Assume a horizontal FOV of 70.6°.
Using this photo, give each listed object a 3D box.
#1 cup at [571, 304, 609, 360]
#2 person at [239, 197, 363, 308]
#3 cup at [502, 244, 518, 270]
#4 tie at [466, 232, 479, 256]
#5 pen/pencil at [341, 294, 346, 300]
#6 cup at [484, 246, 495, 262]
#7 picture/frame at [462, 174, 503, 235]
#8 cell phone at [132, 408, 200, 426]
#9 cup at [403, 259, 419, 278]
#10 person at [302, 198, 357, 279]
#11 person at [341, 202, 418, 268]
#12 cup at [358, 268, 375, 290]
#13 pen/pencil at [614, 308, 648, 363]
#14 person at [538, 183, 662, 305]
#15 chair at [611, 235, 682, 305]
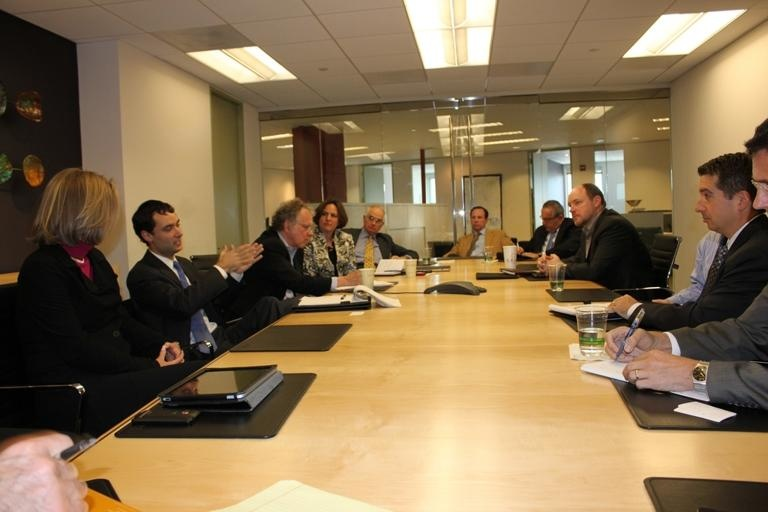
[{"bbox_3d":[0.807,0.295,2.143,0.144,0.202,0.136,-1,-1,0],"label":"cup"},{"bbox_3d":[-0.687,-0.055,4.352,0.933,1.206,0.592,0,7,-16],"label":"person"},{"bbox_3d":[1.040,0.015,4.523,0.180,0.250,0.174,0,-3,0],"label":"cup"},{"bbox_3d":[1.169,-0.135,7.162,0.077,0.261,0.159,-7,8,-36],"label":"tie"},{"bbox_3d":[-0.251,0.252,3.225,0.018,0.019,0.048,4,7,3],"label":"pen/pencil"},{"bbox_3d":[1.014,-0.011,5.027,0.136,0.149,0.133,0,0,0],"label":"cup"},{"bbox_3d":[1.540,-0.796,8.448,0.628,0.917,0.024,2,11,29],"label":"picture/frame"},{"bbox_3d":[-0.706,0.519,1.742,0.133,0.014,0.076,-1,6,0],"label":"cell phone"},{"bbox_3d":[0.192,0.103,4.379,0.129,0.125,0.128,0,-2,0],"label":"cup"},{"bbox_3d":[-0.525,-0.129,5.042,0.550,0.746,0.616,-1,1,30],"label":"person"},{"bbox_3d":[-0.018,-0.252,6.701,0.937,0.410,1.182,1,47,-9],"label":"person"},{"bbox_3d":[-0.108,0.138,3.457,0.111,0.117,0.119,-1,-4,0],"label":"cup"},{"bbox_3d":[0.971,0.317,2.131,0.025,0.212,0.024,36,-18,-19],"label":"pen/pencil"},{"bbox_3d":[1.821,0.142,4.673,0.987,1.482,0.644,-8,11,2],"label":"person"},{"bbox_3d":[2.161,0.182,4.481,0.474,0.660,0.378,-5,10,-4],"label":"chair"}]
